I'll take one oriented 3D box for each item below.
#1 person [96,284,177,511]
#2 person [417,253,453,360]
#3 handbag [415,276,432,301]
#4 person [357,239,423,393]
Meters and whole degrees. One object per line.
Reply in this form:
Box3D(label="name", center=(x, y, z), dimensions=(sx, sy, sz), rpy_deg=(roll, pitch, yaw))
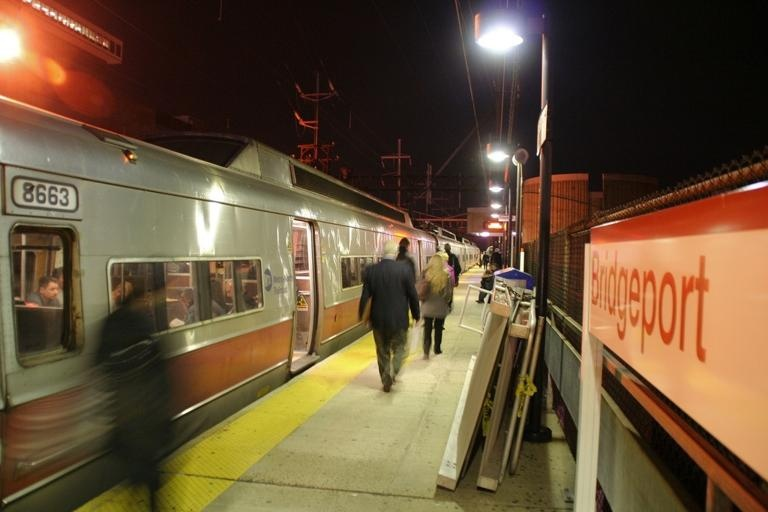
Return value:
Box3D(label="person", center=(-2.045, 1.289, 4.239), dimensions=(0.502, 1.521, 1.167), rpy_deg=(-3, 7, -30))
Box3D(label="person", center=(0.929, 0.866, 9.259), dimensions=(0.573, 1.986, 0.578), rpy_deg=(4, 17, 7))
Box3D(label="handbag", center=(0.752, 0.586, 9.057), dimensions=(0.255, 0.397, 0.123), rpy_deg=(6, -3, 45))
Box3D(label="person", center=(0.121, 0.882, 7.494), dimensions=(0.811, 2.214, 0.567), rpy_deg=(-5, 16, -10))
